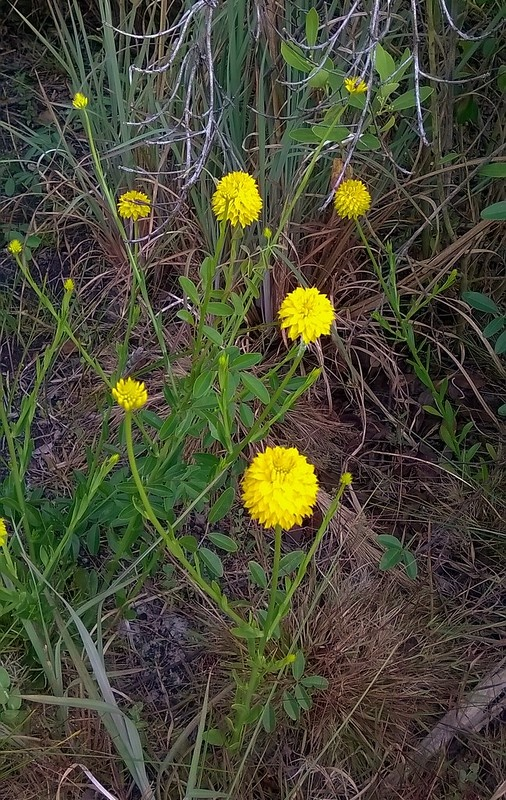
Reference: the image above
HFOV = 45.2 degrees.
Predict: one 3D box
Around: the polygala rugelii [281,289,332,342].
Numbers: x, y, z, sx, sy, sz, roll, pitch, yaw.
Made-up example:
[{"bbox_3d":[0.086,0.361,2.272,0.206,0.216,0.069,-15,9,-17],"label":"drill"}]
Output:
[{"bbox_3d":[0.059,-0.106,0.670,0.050,0.050,0.021,44,99,18],"label":"polygala rugelii"}]
